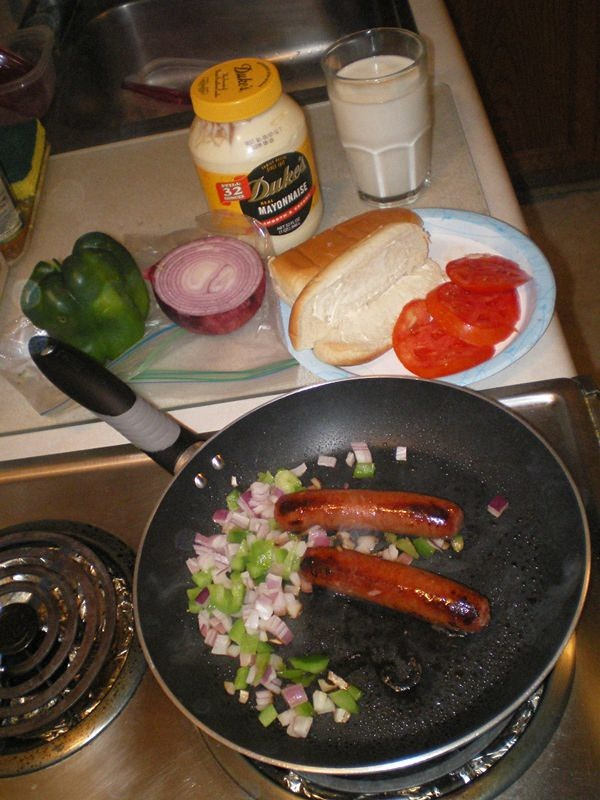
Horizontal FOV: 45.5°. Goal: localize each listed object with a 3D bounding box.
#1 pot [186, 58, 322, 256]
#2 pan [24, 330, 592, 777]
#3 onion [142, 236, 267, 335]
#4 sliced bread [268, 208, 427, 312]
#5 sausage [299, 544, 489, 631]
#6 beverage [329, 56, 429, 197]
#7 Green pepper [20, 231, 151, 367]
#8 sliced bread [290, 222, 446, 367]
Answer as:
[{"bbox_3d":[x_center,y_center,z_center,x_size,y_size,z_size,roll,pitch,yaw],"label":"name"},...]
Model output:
[{"bbox_3d":[-0.079,-0.392,1.216,0.193,0.286,0.195,-9,40,7],"label":"pot"},{"bbox_3d":[0.044,0.134,0.871,0.568,0.345,0.562,-20,53,2],"label":"pan"},{"bbox_3d":[-0.156,-0.204,1.243,0.172,0.070,0.180,29,66,19],"label":"onion"},{"bbox_3d":[0.093,-0.245,1.233,0.255,0.073,0.141,-30,53,-10],"label":"sliced bread"},{"bbox_3d":[0.079,0.225,0.959,0.321,0.077,0.082,10,61,13],"label":"sausage"},{"bbox_3d":[0.158,-0.475,1.286,0.167,0.271,0.085,-9,56,12],"label":"beverage"},{"bbox_3d":[-0.359,-0.167,1.234,0.193,0.226,0.192,-41,24,-12],"label":"Green pepper"},{"bbox_3d":[0.100,-0.157,1.182,0.289,0.059,0.166,-42,90,-8],"label":"sliced bread"}]
